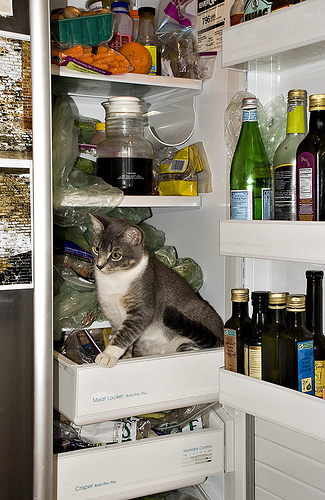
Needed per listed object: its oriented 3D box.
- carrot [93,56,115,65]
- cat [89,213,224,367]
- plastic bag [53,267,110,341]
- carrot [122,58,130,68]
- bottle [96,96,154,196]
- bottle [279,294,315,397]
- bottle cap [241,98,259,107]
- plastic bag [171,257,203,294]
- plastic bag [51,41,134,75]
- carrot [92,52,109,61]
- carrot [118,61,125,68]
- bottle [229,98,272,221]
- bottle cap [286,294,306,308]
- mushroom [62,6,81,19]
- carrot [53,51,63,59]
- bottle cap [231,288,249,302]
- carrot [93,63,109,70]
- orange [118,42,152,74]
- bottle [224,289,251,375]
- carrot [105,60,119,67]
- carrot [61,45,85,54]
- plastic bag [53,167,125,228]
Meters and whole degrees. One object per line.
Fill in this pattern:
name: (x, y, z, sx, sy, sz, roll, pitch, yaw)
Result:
carrot: (-0.120, -0.383, 0.857, 0.036, 0.009, 0.008, -25, 22, -18)
cat: (-0.014, 0.087, 1.003, 0.293, 0.353, 0.201, -6, 17, -28)
plastic bag: (-0.183, 0.121, 0.932, 0.146, 0.150, 0.056, -13, 0, -23)
carrot: (-0.076, -0.388, 0.884, 0.006, 0.017, 0.013, 7, 17, 44)
bottle: (-0.087, -0.244, 0.996, 0.132, 0.215, 0.128, 2, 20, -1)
bottle: (0.227, 0.154, 0.705, 0.059, 0.161, 0.066, 0, 4, 5)
bottle cap: (0.162, -0.273, 0.784, 0.029, 0.014, 0.029, -9, 25, -18)
plastic bag: (0.079, 0.055, 1.120, 0.089, 0.029, 0.097, -4, -35, 10)
plastic bag: (-0.146, -0.377, 0.858, 0.116, 0.072, 0.035, -12, -4, -35)
carrot: (-0.125, -0.388, 0.864, 0.031, 0.013, 0.013, -16, -25, 0)
carrot: (-0.084, -0.383, 0.880, 0.009, 0.012, 0.005, -27, 12, -3)
bottle: (0.163, -0.167, 0.778, 0.080, 0.222, 0.148, 1, 4, 11)
bottle cap: (0.217, 0.081, 0.691, 0.020, 0.018, 0.021, 0, 3, -2)
mushroom: (-0.188, -0.508, 0.894, 0.034, 0.025, 0.045, -7, 36, -16)
carrot: (-0.201, -0.377, 0.816, 0.016, 0.011, 0.008, 2, -6, -2)
bottle cap: (0.151, 0.087, 0.829, 0.027, 0.021, 0.027, 0, 3, -31)
carrot: (-0.120, -0.371, 0.859, 0.013, 0.006, 0.017, 12, 13, 43)
orange: (-0.053, -0.417, 0.921, 0.073, 0.089, 0.076, 2, 30, 0)
bottle: (0.152, 0.156, 0.863, 0.052, 0.166, 0.158, 1, 5, 9)
carrot: (-0.099, -0.382, 0.872, 0.015, 0.006, 0.011, -5, -19, 9)
carrot: (-0.176, -0.394, 0.825, 0.032, 0.010, 0.016, -22, 32, -12)
plastic bag: (-0.161, -0.110, 0.890, 0.139, 0.105, 0.053, -7, 4, -22)
